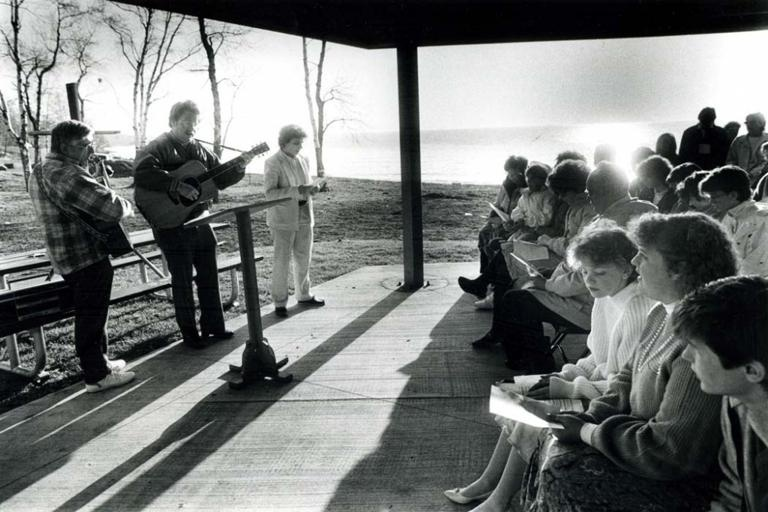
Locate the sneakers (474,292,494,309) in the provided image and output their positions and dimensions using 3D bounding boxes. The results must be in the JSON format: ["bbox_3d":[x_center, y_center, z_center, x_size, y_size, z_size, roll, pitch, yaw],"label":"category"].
[{"bbox_3d":[1.111,0.537,7.663,0.326,0.125,0.114,-2,10,17],"label":"sneakers"}]

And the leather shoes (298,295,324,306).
[{"bbox_3d":[-0.900,0.539,8.111,0.336,0.121,0.121,-1,6,-6],"label":"leather shoes"}]

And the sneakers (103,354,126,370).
[{"bbox_3d":[-2.591,1.022,6.305,0.112,0.120,0.314,17,5,4],"label":"sneakers"}]

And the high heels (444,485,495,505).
[{"bbox_3d":[0.594,1.632,4.516,0.309,0.075,0.117,-1,-1,7],"label":"high heels"}]

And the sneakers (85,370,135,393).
[{"bbox_3d":[-2.535,1.168,6.183,0.470,0.180,0.166,-7,14,-29],"label":"sneakers"}]

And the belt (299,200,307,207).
[{"bbox_3d":[-0.957,-0.626,7.745,0.076,0.051,0.070,4,17,10],"label":"belt"}]

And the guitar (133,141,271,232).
[{"bbox_3d":[-1.916,-0.714,6.770,1.513,0.648,0.206,-34,19,-24],"label":"guitar"}]

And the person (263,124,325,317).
[{"bbox_3d":[-1.094,-0.435,7.750,0.768,2.177,0.479,-16,23,-42],"label":"person"}]

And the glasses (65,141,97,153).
[{"bbox_3d":[-2.714,-0.984,5.900,0.111,0.118,0.256,10,18,32],"label":"glasses"}]

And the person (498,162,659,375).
[{"bbox_3d":[1.677,0.099,5.903,1.409,2.262,0.950,-9,38,7],"label":"person"}]

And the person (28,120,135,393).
[{"bbox_3d":[-2.673,0.015,5.985,0.734,2.421,0.587,-9,19,-26],"label":"person"}]
